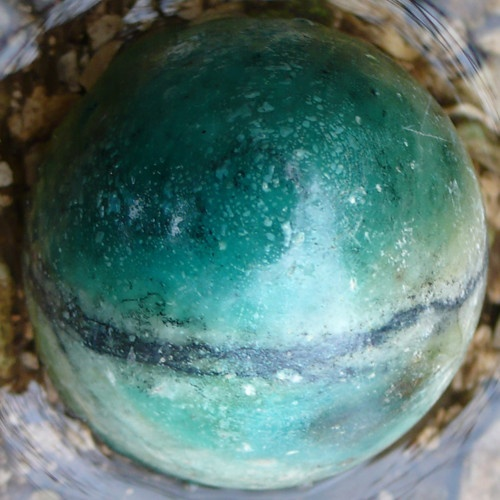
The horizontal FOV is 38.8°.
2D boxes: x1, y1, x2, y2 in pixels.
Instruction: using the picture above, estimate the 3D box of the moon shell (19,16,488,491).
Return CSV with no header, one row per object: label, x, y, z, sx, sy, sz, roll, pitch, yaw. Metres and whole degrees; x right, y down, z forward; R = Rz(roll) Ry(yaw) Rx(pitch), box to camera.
moon shell,-0.068,0.038,2.362,1.488,0.735,1.160,0,87,-5
